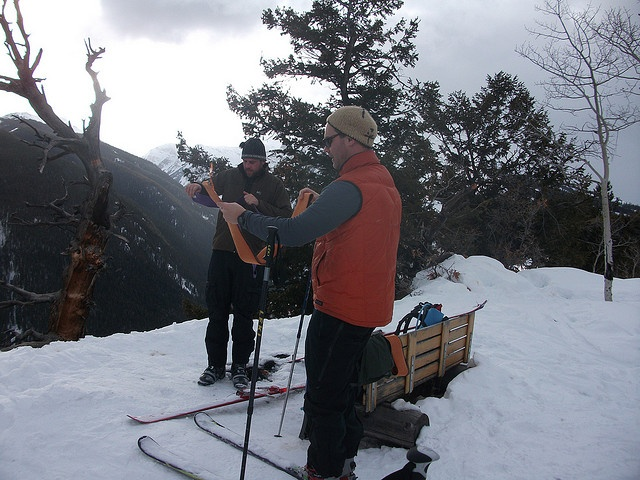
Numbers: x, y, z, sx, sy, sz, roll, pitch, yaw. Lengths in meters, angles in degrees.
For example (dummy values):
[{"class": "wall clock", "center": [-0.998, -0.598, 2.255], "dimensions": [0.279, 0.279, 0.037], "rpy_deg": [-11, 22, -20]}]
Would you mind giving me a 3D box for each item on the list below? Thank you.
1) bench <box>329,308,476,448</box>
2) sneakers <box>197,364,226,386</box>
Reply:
[{"class": "bench", "center": [1.302, 1.825, 7.595], "dimensions": [1.418, 1.017, 1.875], "rpy_deg": [7, 16, 37]}, {"class": "sneakers", "center": [-1.587, 1.970, 7.758], "dimensions": [0.180, 0.222, 0.458], "rpy_deg": [9, 16, 19]}]
